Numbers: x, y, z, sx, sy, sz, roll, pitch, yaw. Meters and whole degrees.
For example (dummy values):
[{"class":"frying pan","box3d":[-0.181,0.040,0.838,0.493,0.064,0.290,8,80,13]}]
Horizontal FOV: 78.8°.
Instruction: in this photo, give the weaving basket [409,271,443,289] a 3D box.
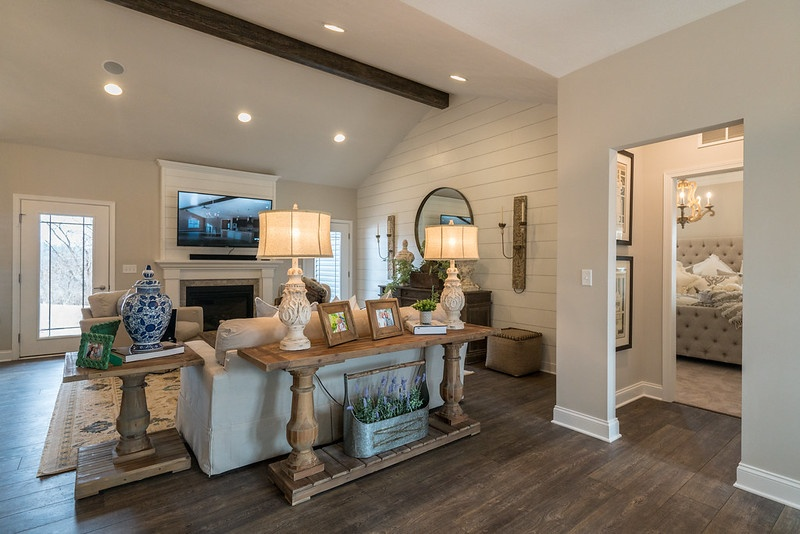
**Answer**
[{"class":"weaving basket","box3d":[0.353,0.187,6.993,0.246,0.183,0.438,-2,3,-37]}]

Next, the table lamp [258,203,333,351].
[{"class":"table lamp","box3d":[-0.848,0.072,3.951,0.595,1.157,0.355,-4,3,-16]}]

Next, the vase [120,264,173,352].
[{"class":"vase","box3d":[-2.126,0.335,4.047,0.403,0.693,0.460,10,9,41]}]

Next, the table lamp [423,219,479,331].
[{"class":"table lamp","box3d":[0.495,0.052,4.750,0.508,1.021,0.415,2,5,0]}]

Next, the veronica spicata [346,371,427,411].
[{"class":"veronica spicata","box3d":[-0.137,1.081,4.356,0.757,0.351,0.504,6,1,-34]}]

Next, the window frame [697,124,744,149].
[{"class":"window frame","box3d":[3.181,-1.289,4.792,0.366,0.186,0.155,-2,2,29]}]
